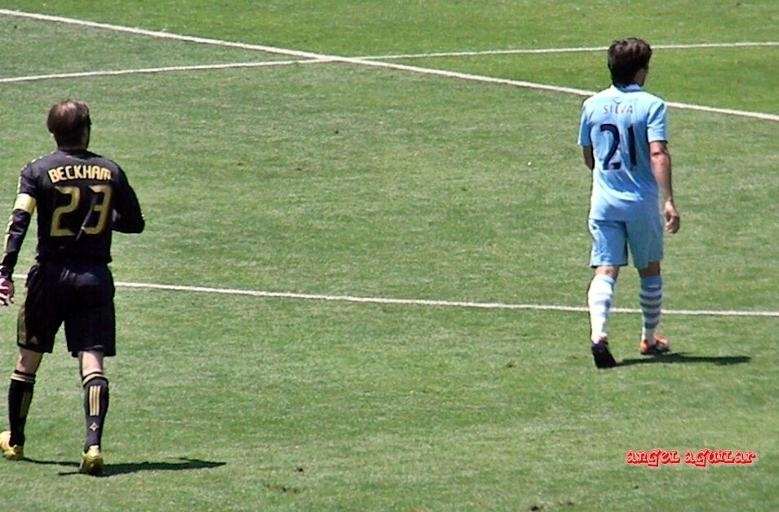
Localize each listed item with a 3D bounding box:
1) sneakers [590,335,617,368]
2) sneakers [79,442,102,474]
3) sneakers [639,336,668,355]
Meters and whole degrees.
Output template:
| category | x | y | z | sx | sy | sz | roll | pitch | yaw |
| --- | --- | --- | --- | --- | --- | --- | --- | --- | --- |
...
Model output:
| category | x | y | z | sx | sy | sz | roll | pitch | yaw |
| --- | --- | --- | --- | --- | --- | --- | --- | --- | --- |
| sneakers | 1.996 | 0.867 | 17.200 | 0.225 | 0.292 | 0.128 | -15 | 40 | 7 |
| sneakers | -2.542 | 1.734 | 16.066 | 0.165 | 0.128 | 0.297 | 2 | -26 | -17 |
| sneakers | 2.483 | 0.821 | 17.411 | 0.239 | 0.072 | 0.175 | -1 | 21 | -12 |
